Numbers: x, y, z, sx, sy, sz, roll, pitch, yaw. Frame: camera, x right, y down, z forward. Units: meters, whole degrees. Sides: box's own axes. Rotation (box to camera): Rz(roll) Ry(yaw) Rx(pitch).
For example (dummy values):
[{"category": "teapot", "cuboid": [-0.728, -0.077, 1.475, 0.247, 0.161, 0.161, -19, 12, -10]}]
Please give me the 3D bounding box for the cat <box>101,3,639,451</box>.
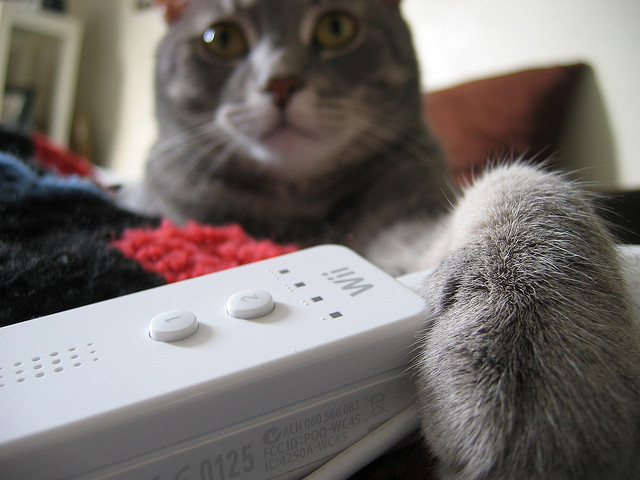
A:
[{"category": "cat", "cuboid": [0.038, -0.052, 0.711, 0.342, 0.333, 0.577, -7, 17, -10]}]
